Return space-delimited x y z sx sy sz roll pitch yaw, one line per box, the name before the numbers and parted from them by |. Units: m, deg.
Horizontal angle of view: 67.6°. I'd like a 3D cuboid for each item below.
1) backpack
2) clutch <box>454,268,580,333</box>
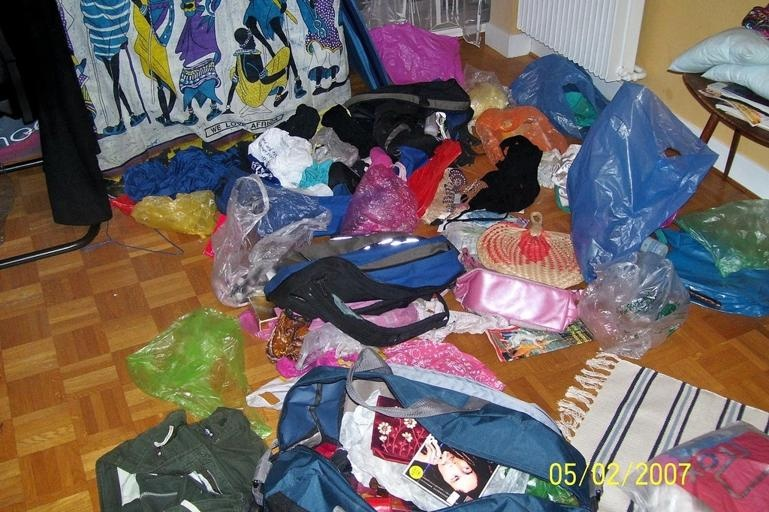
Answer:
backpack | -0.077 0.102 2.403 0.808 0.270 0.521 5 41 5
clutch | 0.552 0.191 2.432 0.531 0.199 0.204 14 11 19
